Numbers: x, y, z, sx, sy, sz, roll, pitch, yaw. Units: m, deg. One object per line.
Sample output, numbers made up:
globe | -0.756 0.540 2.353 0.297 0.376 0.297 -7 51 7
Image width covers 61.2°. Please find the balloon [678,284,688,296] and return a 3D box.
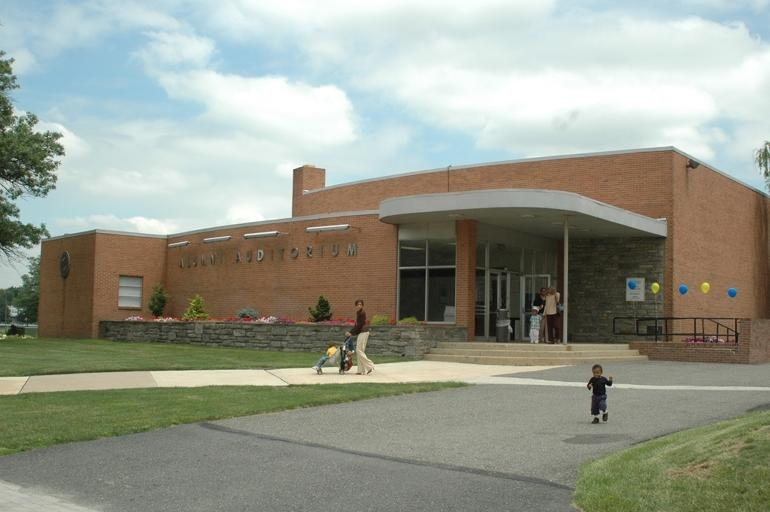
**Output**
balloon | 12.895 1.449 28.222 0.471 0.459 0.490 6 9 20

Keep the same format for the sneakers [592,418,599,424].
sneakers | 4.086 3.196 12.640 0.154 0.132 0.074 13 -16 -43

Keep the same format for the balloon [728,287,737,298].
balloon | 16.499 1.720 30.954 0.546 0.461 0.525 1 -6 10

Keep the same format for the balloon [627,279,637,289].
balloon | 11.086 1.248 29.140 0.407 0.337 0.387 12 -16 -28

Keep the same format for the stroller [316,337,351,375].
stroller | -1.353 2.998 19.532 1.498 1.163 0.962 2 -8 -3
